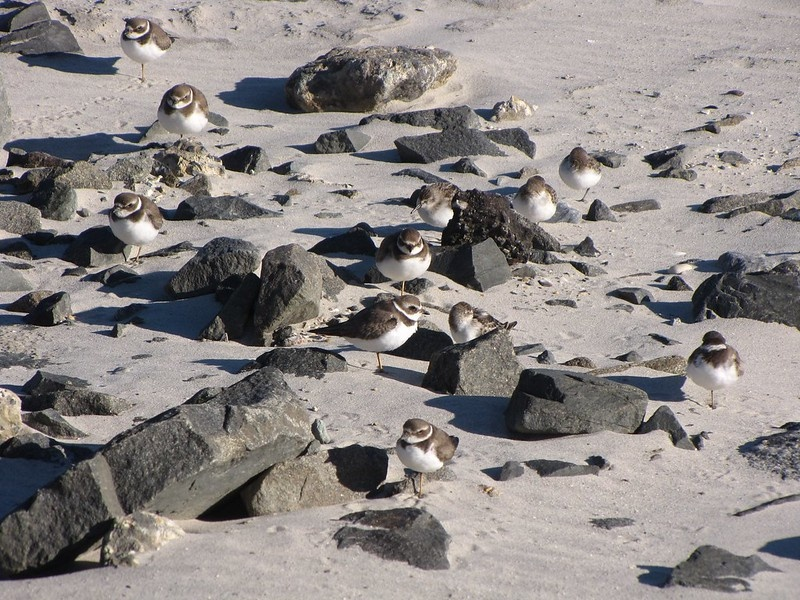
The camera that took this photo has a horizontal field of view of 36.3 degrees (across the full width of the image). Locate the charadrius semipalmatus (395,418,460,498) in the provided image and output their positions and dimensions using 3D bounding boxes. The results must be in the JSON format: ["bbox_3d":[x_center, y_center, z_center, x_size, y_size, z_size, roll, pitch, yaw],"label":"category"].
[{"bbox_3d":[0.237,1.453,11.467,0.483,0.576,0.818,5,19,14],"label":"charadrius semipalmatus"}]

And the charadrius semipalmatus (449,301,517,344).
[{"bbox_3d":[0.858,0.273,14.046,0.555,0.450,0.314,-5,28,-18],"label":"charadrius semipalmatus"}]

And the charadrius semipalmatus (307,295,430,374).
[{"bbox_3d":[-0.279,0.284,13.482,1.082,0.470,0.559,-2,27,-12],"label":"charadrius semipalmatus"}]

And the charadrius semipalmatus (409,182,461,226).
[{"bbox_3d":[0.509,-1.255,16.329,0.541,0.560,0.336,6,27,4],"label":"charadrius semipalmatus"}]

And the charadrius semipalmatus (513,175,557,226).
[{"bbox_3d":[1.857,-1.388,16.829,0.671,0.772,0.804,10,19,3],"label":"charadrius semipalmatus"}]

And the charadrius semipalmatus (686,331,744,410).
[{"bbox_3d":[3.355,0.673,12.976,0.526,0.527,0.381,15,29,21],"label":"charadrius semipalmatus"}]

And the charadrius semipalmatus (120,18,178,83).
[{"bbox_3d":[-4.063,-4.367,20.050,0.621,0.799,1.090,6,27,5],"label":"charadrius semipalmatus"}]

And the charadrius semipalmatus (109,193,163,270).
[{"bbox_3d":[-3.319,-0.990,15.264,0.595,0.797,1.021,11,21,1],"label":"charadrius semipalmatus"}]
